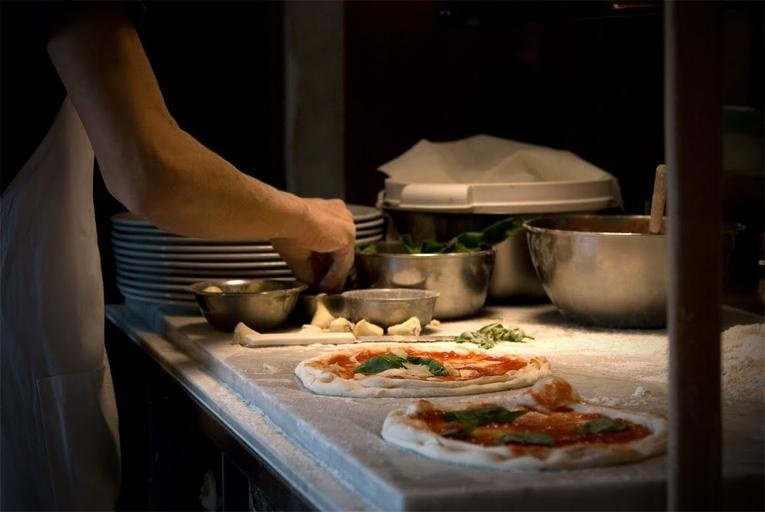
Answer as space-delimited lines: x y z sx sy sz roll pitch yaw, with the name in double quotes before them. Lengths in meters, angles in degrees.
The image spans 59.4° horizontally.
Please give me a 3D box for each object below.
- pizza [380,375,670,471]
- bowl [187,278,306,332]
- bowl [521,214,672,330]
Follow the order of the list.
"pizza" 0.160 0.246 1.058 0.304 0.041 0.352 -11 -5 1
"bowl" -0.319 0.114 1.571 0.273 0.097 0.266 -1 6 0
"bowl" 0.513 0.023 1.573 0.352 0.172 0.348 -2 9 0
